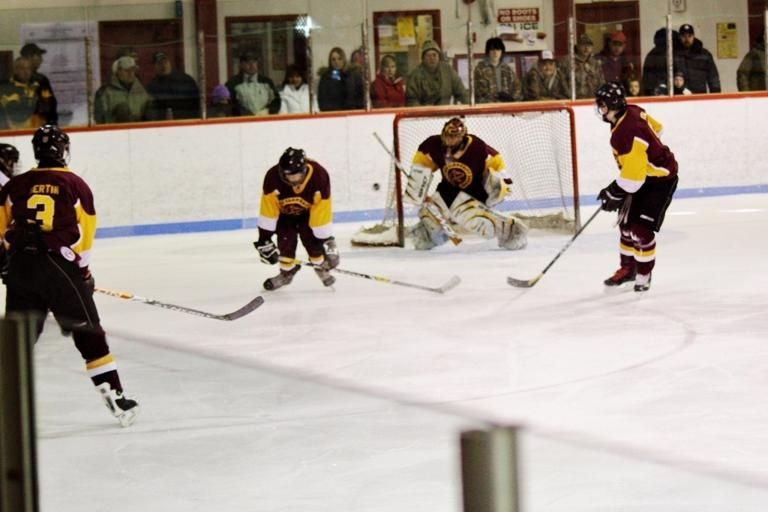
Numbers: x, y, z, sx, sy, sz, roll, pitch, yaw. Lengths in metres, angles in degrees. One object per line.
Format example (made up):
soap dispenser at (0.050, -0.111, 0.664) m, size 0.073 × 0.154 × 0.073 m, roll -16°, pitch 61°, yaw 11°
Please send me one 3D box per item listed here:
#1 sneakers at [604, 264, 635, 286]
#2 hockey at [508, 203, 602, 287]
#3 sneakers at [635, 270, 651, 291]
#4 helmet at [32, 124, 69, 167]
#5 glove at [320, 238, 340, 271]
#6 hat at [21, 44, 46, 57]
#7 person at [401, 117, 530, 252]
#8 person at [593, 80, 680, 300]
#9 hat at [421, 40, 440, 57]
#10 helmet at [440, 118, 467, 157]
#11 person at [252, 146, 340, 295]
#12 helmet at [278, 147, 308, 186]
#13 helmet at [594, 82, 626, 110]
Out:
sneakers at (1.379, 0.123, 5.579) m, size 0.262 × 0.099 × 0.080 m, roll -5°, pitch 13°, yaw -24°
hockey at (1.131, -0.065, 6.066) m, size 0.176 × 0.138 × 1.228 m, roll 23°, pitch 31°, yaw 25°
sneakers at (1.508, 0.159, 5.474) m, size 0.085 × 0.109 × 0.117 m, roll 1°, pitch -3°, yaw 5°
helmet at (-1.511, -0.481, 4.193) m, size 0.168 × 0.182 × 0.199 m, roll -2°, pitch -7°, yaw -5°
glove at (-0.350, -0.005, 5.803) m, size 0.110 × 0.186 × 0.059 m, roll -1°, pitch -14°, yaw 0°
hat at (-3.016, -1.745, 7.912) m, size 0.146 × 0.071 × 0.090 m, roll -14°, pitch 12°, yaw -8°
person at (0.608, -0.542, 7.336) m, size 1.152 × 1.071 × 0.643 m, roll 4°, pitch 17°, yaw 32°
person at (1.477, -0.400, 5.449) m, size 0.464 × 1.192 × 0.294 m, roll 1°, pitch 11°, yaw 14°
hat at (0.415, -1.857, 8.384) m, size 0.150 × 0.090 × 0.146 m, roll 0°, pitch 4°, yaw 5°
helmet at (0.506, -0.856, 6.764) m, size 0.189 × 0.269 × 0.221 m, roll -1°, pitch 10°, yaw 3°
person at (-0.580, -0.219, 5.756) m, size 0.499 × 0.894 × 0.524 m, roll 3°, pitch 11°, yaw 25°
helmet at (-0.536, -0.544, 5.538) m, size 0.196 × 0.211 × 0.229 m, roll 2°, pitch 18°, yaw -4°
helmet at (1.320, -0.937, 5.477) m, size 0.183 × 0.168 × 0.147 m, roll 6°, pitch 20°, yaw 17°
